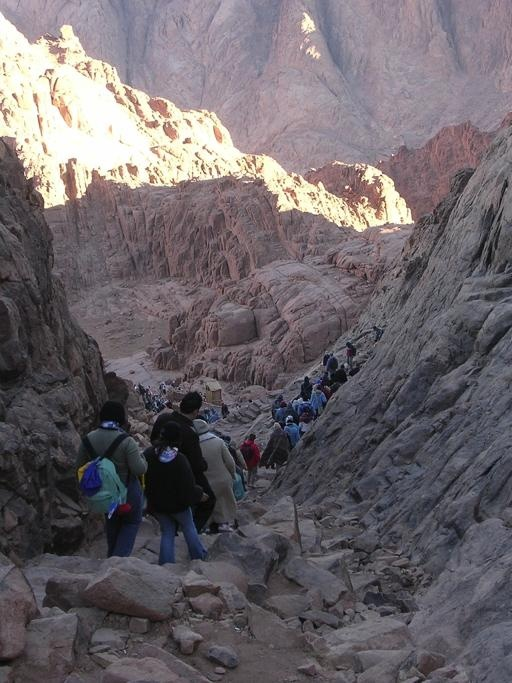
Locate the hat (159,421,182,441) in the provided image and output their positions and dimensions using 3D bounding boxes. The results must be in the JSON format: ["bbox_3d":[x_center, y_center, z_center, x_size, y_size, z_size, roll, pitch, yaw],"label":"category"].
[{"bbox_3d":[-0.657,0.707,5.165,0.155,0.180,0.169,7,-25,-7],"label":"hat"}]

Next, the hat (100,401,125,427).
[{"bbox_3d":[-1.104,0.554,5.209,0.186,0.238,0.219,10,-25,-12],"label":"hat"}]

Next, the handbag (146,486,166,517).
[{"bbox_3d":[-0.749,1.292,5.313,0.055,0.202,0.220,-8,15,-37],"label":"handbag"}]

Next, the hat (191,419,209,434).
[{"bbox_3d":[-0.491,0.779,6.080,0.101,0.133,0.135,-5,-34,32],"label":"hat"}]

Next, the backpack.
[{"bbox_3d":[-1.109,0.986,5.048,0.316,0.604,0.438,-8,-28,25],"label":"backpack"}]
